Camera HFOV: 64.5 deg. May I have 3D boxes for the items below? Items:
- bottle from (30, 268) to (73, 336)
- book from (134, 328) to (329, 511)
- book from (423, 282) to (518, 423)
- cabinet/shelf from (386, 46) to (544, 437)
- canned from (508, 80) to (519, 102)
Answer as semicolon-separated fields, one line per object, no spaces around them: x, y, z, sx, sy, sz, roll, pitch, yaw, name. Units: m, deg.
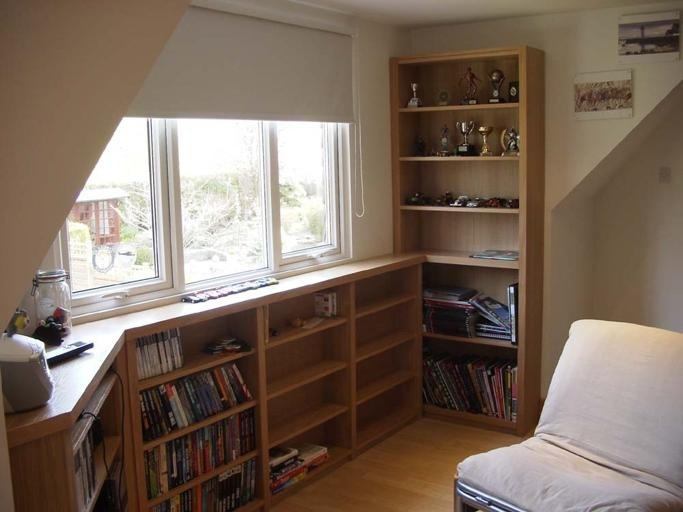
-1.273;0.211;2.373;0.173;0.296;0.191;4;8;42;bottle
-0.605;0.852;2.801;0.302;1.047;0.925;11;16;36;book
0.942;0.711;3.900;0.923;0.975;0.312;-1;-1;38;book
0.945;-0.154;3.939;0.978;2.596;0.376;-1;7;21;cabinet/shelf
1.170;-1.121;3.660;0.061;0.137;0.216;4;13;8;canned
